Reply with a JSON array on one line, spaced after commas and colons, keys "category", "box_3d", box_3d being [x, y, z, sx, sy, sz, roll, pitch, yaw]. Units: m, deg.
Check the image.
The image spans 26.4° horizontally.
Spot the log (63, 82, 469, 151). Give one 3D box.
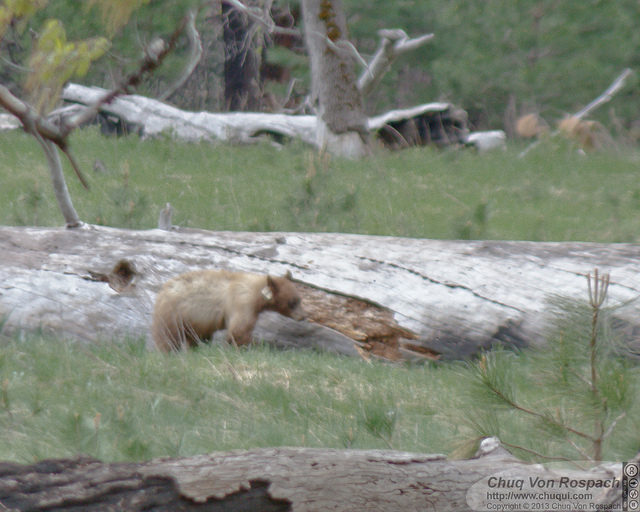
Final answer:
[{"category": "log", "box_3d": [-1.056, -3.140, 29.991, 8.471, 1.332, 1.639, 1, 5, -35]}]

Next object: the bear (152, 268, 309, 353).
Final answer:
[{"category": "bear", "box_3d": [-1.498, 0.909, 22.280, 2.470, 1.485, 0.847, -3, 11, 6]}]
